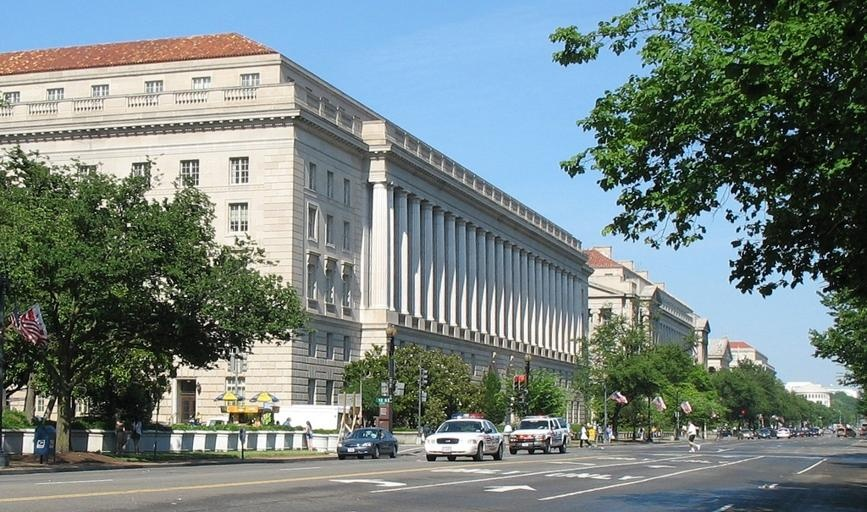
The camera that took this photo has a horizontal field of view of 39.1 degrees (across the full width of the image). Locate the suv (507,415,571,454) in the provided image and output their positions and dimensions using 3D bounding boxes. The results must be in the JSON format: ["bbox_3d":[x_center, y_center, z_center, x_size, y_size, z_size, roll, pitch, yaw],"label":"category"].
[{"bbox_3d":[6.989,11.810,81.337,2.315,3.133,4.949,-11,-21,26],"label":"suv"}]

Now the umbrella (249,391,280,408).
[{"bbox_3d":[-12.167,10.540,89.521,1.458,0.540,1.411,8,-14,-16],"label":"umbrella"}]

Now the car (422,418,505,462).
[{"bbox_3d":[1.801,10.386,69.583,4.769,2.868,1.854,10,-22,-32],"label":"car"}]

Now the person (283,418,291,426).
[{"bbox_3d":[-10.238,11.551,85.889,0.533,0.756,1.277,1,-19,-7],"label":"person"}]

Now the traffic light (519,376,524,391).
[{"bbox_3d":[7.205,10.281,99.080,0.229,0.864,0.682,5,2,17],"label":"traffic light"}]

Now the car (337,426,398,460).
[{"bbox_3d":[-3.988,11.331,74.352,3.669,2.194,2.109,11,-23,-35],"label":"car"}]

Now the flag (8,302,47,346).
[{"bbox_3d":[-21.881,3.756,65.644,2.000,1.933,0.475,29,2,-3],"label":"flag"}]
